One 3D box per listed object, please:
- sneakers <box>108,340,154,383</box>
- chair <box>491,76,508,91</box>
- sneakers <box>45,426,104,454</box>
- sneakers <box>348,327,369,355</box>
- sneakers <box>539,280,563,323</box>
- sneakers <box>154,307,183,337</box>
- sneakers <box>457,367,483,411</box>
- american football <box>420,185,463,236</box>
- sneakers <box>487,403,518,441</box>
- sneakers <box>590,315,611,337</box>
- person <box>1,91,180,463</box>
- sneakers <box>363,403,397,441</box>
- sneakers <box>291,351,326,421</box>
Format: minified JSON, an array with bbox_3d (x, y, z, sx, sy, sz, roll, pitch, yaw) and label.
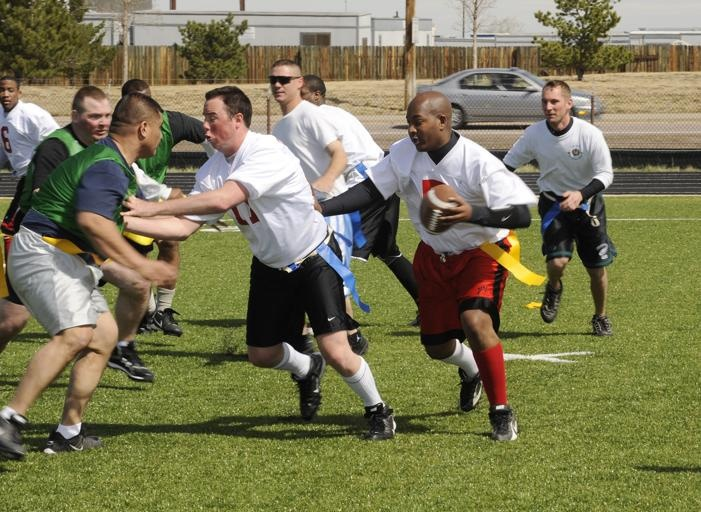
[{"bbox_3d":[-1.632,0.771,6.803,0.443,0.215,0.162,17,14,32],"label":"sneakers"},{"bbox_3d":[3.531,-4.148,21.959,0.261,0.638,0.137,-8,-1,22],"label":"chair"},{"bbox_3d":[-1.706,1.135,5.679,0.369,0.154,0.126,-3,8,-33],"label":"sneakers"},{"bbox_3d":[0.065,0.688,7.405,0.091,0.247,0.110,-36,-1,14],"label":"sneakers"},{"bbox_3d":[1.782,0.411,8.164,0.142,0.437,0.171,6,0,3],"label":"sneakers"},{"bbox_3d":[-1.521,0.569,7.871,0.137,0.181,0.374,0,11,-38],"label":"sneakers"},{"bbox_3d":[0.811,0.909,6.252,0.115,0.344,0.179,9,1,31],"label":"sneakers"},{"bbox_3d":[0.498,-0.300,5.568,0.263,0.309,0.264,-10,45,-9],"label":"american football"},{"bbox_3d":[0.981,1.025,5.816,0.212,0.216,0.185,-1,12,-3],"label":"sneakers"},{"bbox_3d":[2.159,0.578,7.914,0.159,0.163,0.277,2,13,12],"label":"sneakers"},{"bbox_3d":[-1.572,0.139,5.411,1.012,2.124,0.563,-4,12,-14],"label":"person"},{"bbox_3d":[0.186,1.059,5.902,0.178,0.196,0.464,-11,8,9],"label":"sneakers"},{"bbox_3d":[-0.293,0.854,6.173,0.150,0.465,0.200,-9,-22,37],"label":"sneakers"}]
